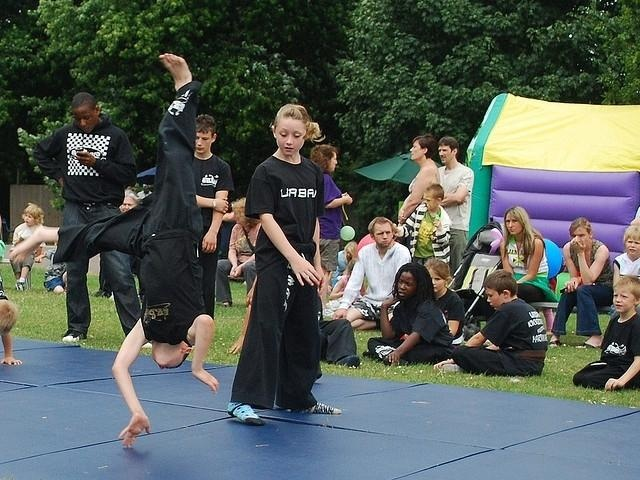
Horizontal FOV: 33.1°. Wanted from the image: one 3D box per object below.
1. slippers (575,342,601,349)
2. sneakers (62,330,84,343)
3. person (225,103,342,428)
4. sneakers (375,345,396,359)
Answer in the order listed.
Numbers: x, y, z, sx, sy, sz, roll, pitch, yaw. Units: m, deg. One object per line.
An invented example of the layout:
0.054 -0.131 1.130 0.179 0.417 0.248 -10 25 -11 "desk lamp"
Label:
3.412 1.322 13.580 0.295 0.068 0.103 3 -1 16 "slippers"
-2.954 1.178 12.918 0.111 0.115 0.286 1 -7 6 "sneakers"
-0.314 0.229 10.168 0.978 2.988 0.676 -3 12 -38 "person"
0.764 1.304 12.437 0.148 0.156 0.196 -3 11 -38 "sneakers"
